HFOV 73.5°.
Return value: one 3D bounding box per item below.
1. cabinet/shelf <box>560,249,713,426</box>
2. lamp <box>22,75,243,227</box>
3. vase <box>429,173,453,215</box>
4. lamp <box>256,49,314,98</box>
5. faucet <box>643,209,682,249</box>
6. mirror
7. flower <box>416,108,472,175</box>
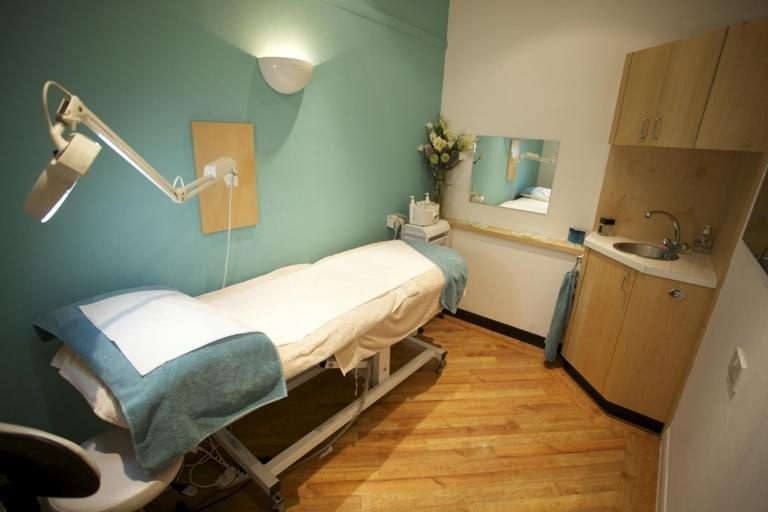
[{"bbox_3d":[1.974,0.608,4.154,0.633,1.253,0.941,3,18,-16],"label":"cabinet/shelf"},{"bbox_3d":[-1.375,-0.579,2.758,1.016,0.638,0.332,-11,22,-35],"label":"lamp"},{"bbox_3d":[0.559,-0.627,5.194,0.251,0.470,0.197,12,22,30],"label":"vase"},{"bbox_3d":[-0.707,-1.305,3.699,0.524,0.228,0.290,-6,-2,-18],"label":"lamp"},{"bbox_3d":[2.167,-0.226,3.977,0.298,0.270,0.350,11,21,26],"label":"faucet"},{"bbox_3d":[1.221,-0.763,4.704,0.673,0.566,0.030,21,30,30],"label":"mirror"},{"bbox_3d":[0.480,-1.041,5.072,0.479,0.566,0.504,-10,44,-6],"label":"flower"}]
